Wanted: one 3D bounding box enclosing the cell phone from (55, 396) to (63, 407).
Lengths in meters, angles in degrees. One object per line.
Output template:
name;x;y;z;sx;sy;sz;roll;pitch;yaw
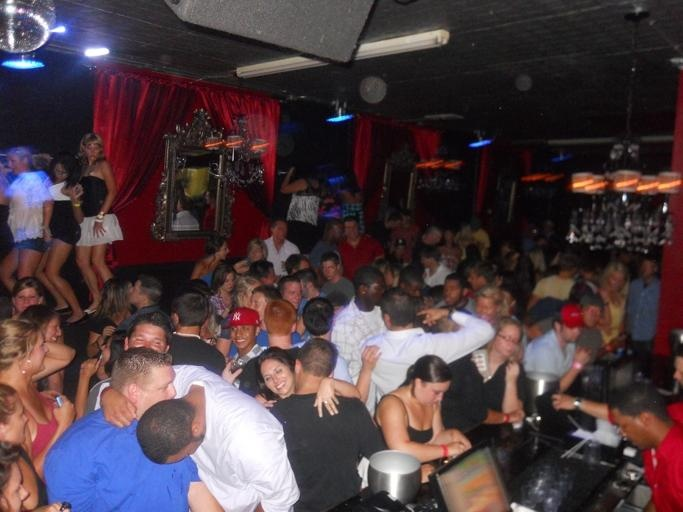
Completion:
cell phone;-1.681;0.856;3.151;0.039;0.077;0.017;7;2;-28

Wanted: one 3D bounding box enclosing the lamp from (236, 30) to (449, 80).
lamp;0.053;-1.737;4.571;1.296;0.116;0.206;-4;-26;26
